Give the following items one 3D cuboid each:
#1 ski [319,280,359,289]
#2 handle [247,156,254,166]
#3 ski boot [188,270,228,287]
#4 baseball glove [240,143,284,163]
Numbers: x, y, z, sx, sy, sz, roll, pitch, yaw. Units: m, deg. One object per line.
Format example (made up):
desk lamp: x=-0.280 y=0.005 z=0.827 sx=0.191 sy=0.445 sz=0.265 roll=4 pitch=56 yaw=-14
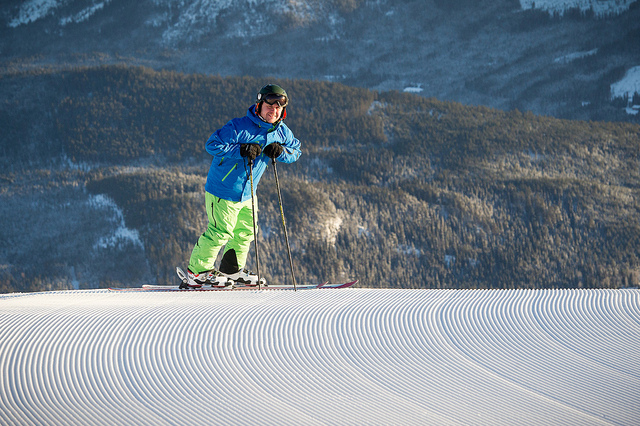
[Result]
ski: x=0.310 y=1.225 z=24.324 sx=0.696 sy=0.108 sz=0.127 roll=-8 pitch=-8 yaw=30
handle: x=-1.131 y=-0.833 z=22.887 sx=0.080 sy=0.154 sz=0.107 roll=0 pitch=4 yaw=-3
ski boot: x=-1.847 y=1.067 z=23.316 sx=0.660 sy=0.296 sz=0.243 roll=-1 pitch=4 yaw=-6
baseball glove: x=-0.952 y=-0.984 z=22.906 sx=0.340 sy=0.183 sz=0.461 roll=-1 pitch=1 yaw=44
